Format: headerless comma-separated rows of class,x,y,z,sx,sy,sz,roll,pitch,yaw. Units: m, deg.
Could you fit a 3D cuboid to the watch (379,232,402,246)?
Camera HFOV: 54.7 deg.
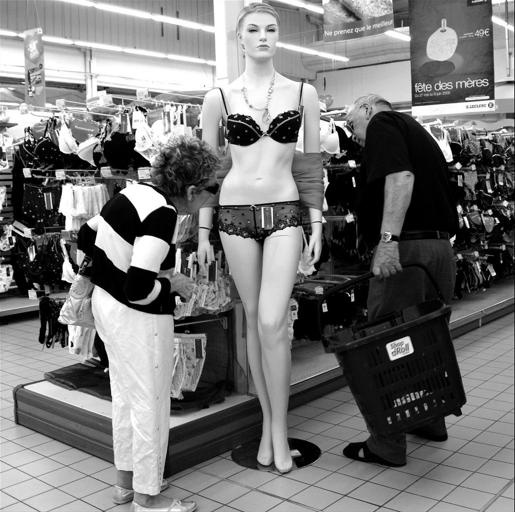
watch,0.595,-0.065,2.270,0.055,0.037,0.058,13,-4,40

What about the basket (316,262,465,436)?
basket,0.609,0.383,2.154,0.500,0.679,0.378,-21,-8,10

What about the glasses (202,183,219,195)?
glasses,-0.192,-0.267,1.983,0.028,0.035,0.066,-30,-5,-6

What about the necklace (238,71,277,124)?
necklace,0.018,-0.734,2.351,0.193,0.301,0.044,6,-29,2
